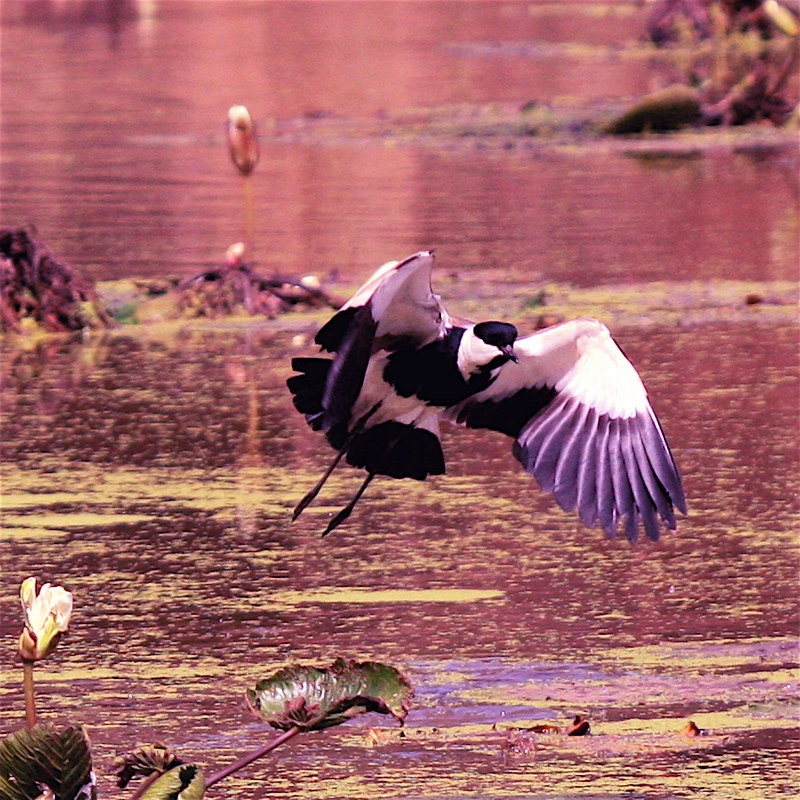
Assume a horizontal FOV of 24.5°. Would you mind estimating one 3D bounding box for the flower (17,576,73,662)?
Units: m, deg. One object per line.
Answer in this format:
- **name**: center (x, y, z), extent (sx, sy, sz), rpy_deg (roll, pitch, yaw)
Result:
- **flower**: center (-0.927, 0.583, 4.852), extent (0.130, 0.255, 0.270), rpy_deg (0, 4, -11)
